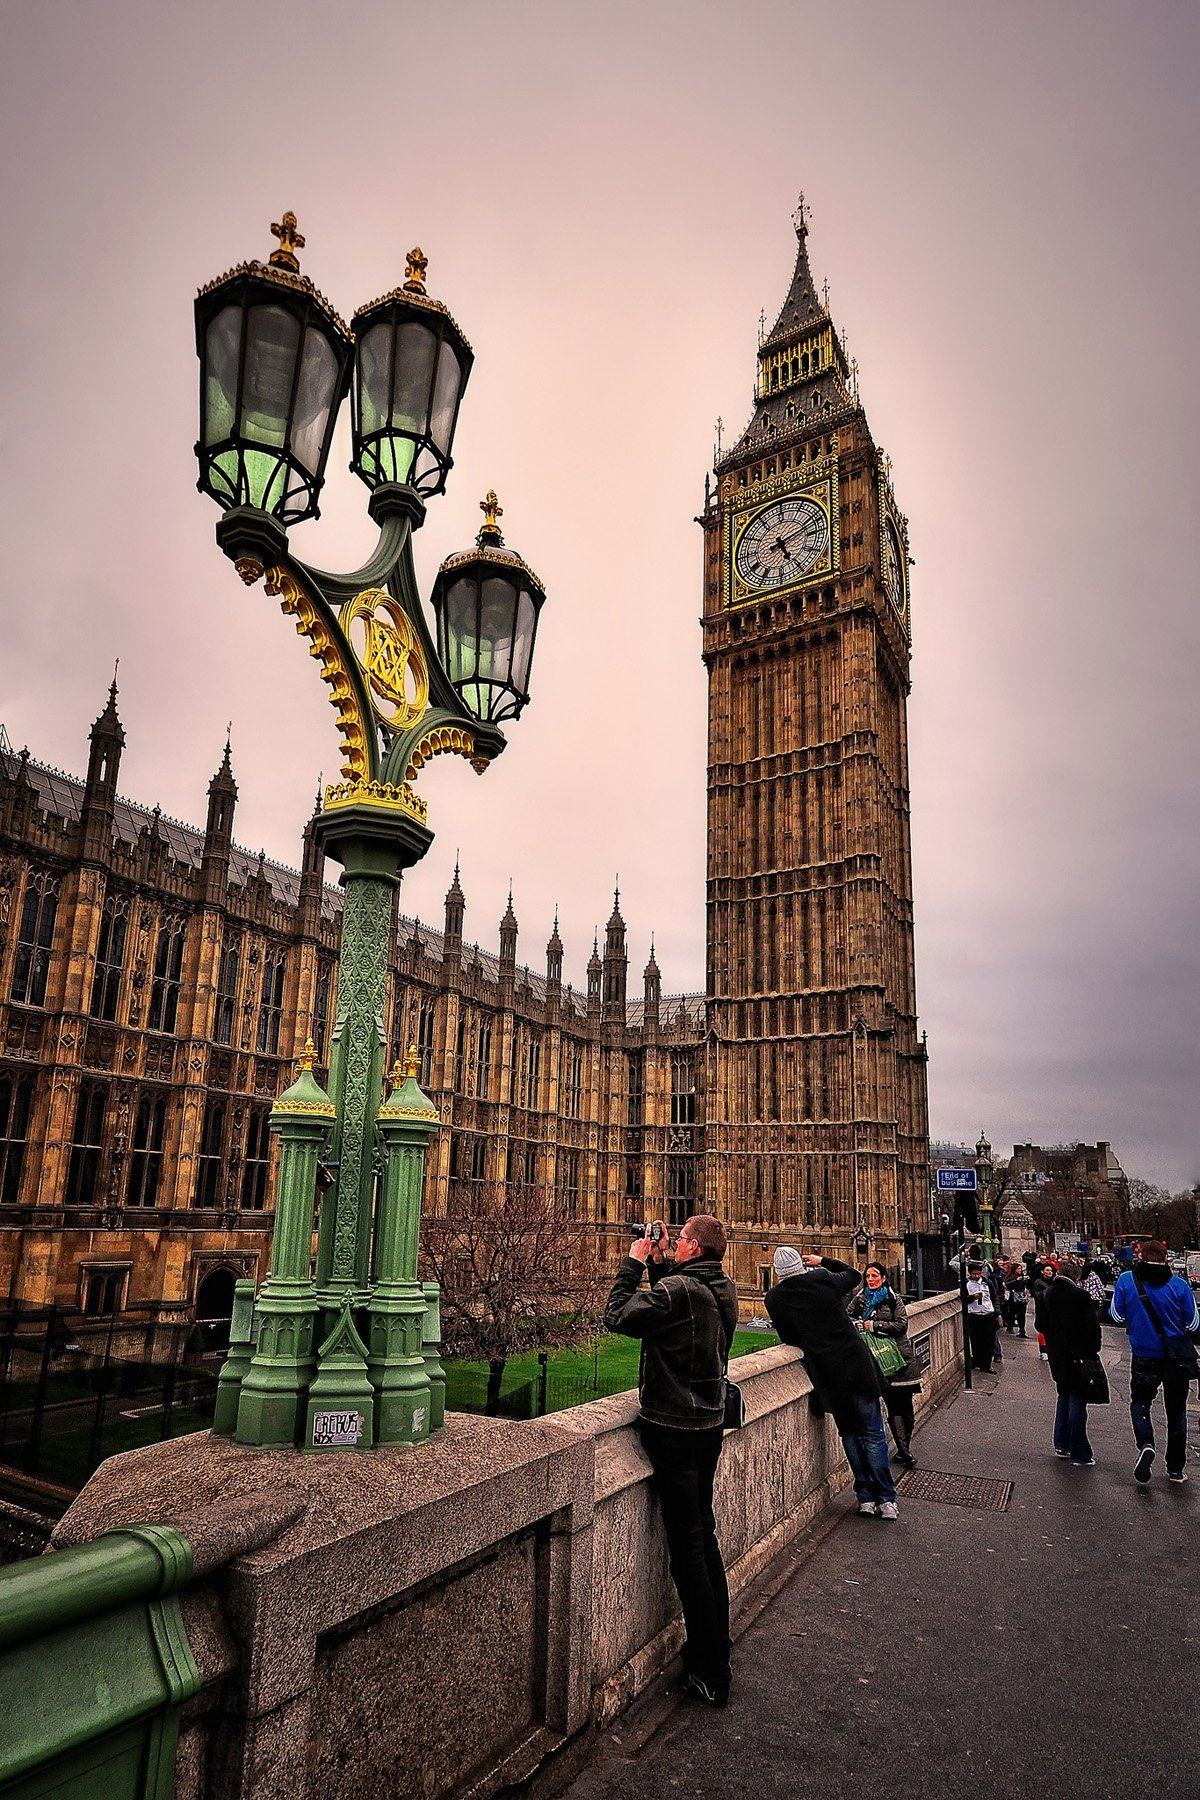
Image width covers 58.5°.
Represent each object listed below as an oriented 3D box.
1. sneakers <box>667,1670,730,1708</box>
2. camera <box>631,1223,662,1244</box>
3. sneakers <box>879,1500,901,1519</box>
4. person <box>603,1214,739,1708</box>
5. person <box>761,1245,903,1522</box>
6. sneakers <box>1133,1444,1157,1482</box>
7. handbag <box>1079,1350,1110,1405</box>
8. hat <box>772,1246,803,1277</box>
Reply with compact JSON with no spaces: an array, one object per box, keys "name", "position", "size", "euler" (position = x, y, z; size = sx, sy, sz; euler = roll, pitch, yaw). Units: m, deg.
[{"name":"sneakers","position":[0.346,2.753,3.676],"size":[0.075,0.114,0.270],"euler":[5,-38,-11]},{"name":"camera","position":[0.185,1.392,4.405],"size":[0.119,0.079,0.158],"euler":[6,-12,-40]},{"name":"sneakers","position":[1.691,3.660,6.331],"size":[0.061,0.068,0.153],"euler":[-2,-36,7]},{"name":"person","position":[0.281,2.059,4.072],"size":[0.447,1.595,0.762],"euler":[-2,-12,7]},{"name":"person","position":[1.431,3.015,6.690],"size":[0.703,1.539,0.888],"euler":[-4,-13,18]},{"name":"sneakers","position":[3.712,3.970,7.411],"size":[0.106,0.245,0.315],"euler":[-7,-16,27]},{"name":"handbag","position":[3.560,3.546,7.807],"size":[0.134,0.339,0.660],"euler":[-6,-17,26]},{"name":"hat","position":[1.136,2.279,6.696],"size":[0.177,0.272,0.274],"euler":[-5,-16,24]}]
